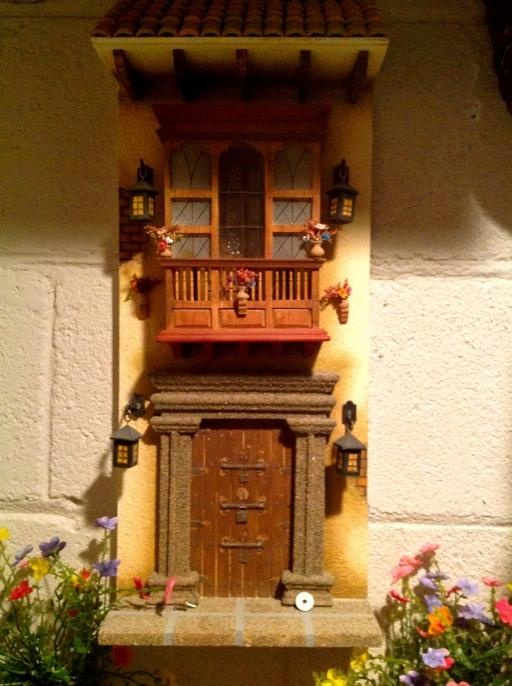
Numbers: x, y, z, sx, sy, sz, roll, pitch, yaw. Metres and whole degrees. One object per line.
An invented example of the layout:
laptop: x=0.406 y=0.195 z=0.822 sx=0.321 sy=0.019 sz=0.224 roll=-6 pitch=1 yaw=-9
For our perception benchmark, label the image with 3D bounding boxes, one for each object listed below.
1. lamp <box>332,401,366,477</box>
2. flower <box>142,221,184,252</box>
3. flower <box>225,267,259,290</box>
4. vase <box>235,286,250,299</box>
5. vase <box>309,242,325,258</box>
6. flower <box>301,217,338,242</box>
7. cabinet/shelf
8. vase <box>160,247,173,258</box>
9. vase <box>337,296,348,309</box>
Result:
lamp: x=0.550 y=0.563 z=5.542 sx=0.196 sy=0.447 sz=0.282 roll=3 pitch=-4 yaw=6
flower: x=-0.523 y=-0.616 z=5.485 sx=0.276 sy=0.203 sz=0.185 roll=3 pitch=-24 yaw=-4
flower: x=-0.078 y=-0.355 z=5.336 sx=0.152 sy=0.122 sz=0.138 roll=2 pitch=2 yaw=-10
vase: x=-0.073 y=-0.281 z=5.320 sx=0.070 sy=0.064 sz=0.070 roll=2 pitch=-1 yaw=-9
vase: x=0.345 y=-0.512 z=5.374 sx=0.066 sy=0.088 sz=0.092 roll=3 pitch=-4 yaw=-6
flower: x=0.341 y=-0.629 z=5.425 sx=0.167 sy=0.049 sz=0.152 roll=7 pitch=-12 yaw=-24
cabinet/shelf: x=-0.073 y=-0.702 z=5.401 sx=1.035 sy=1.453 sz=0.370 roll=3 pitch=-5 yaw=2
vase: x=-0.506 y=-0.506 z=5.360 sx=0.074 sy=0.056 sz=0.066 roll=-1 pitch=3 yaw=-11
vase: x=0.519 y=-0.233 z=5.598 sx=0.093 sy=0.075 sz=0.046 roll=-2 pitch=-36 yaw=15
